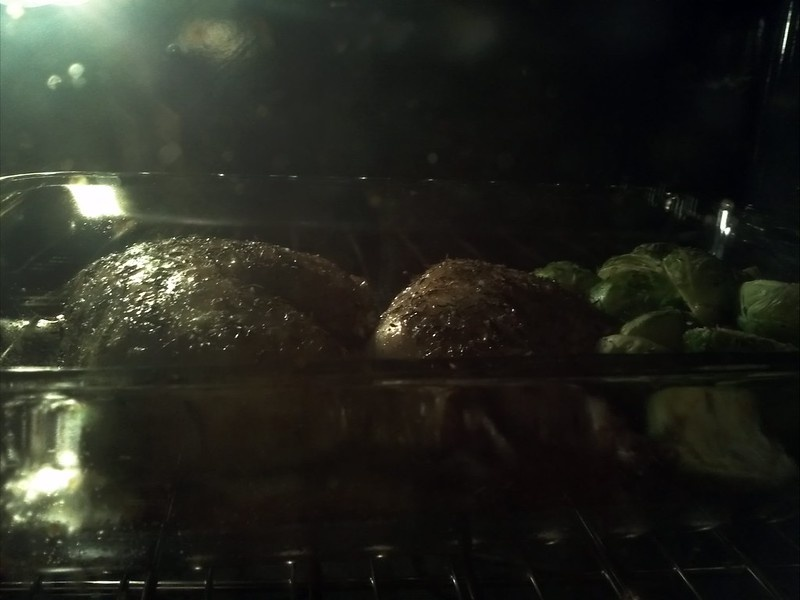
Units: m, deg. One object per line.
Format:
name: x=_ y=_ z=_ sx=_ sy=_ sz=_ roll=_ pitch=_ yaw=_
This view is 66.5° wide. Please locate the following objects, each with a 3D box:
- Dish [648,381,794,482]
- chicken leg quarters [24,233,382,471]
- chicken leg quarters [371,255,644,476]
Dish: x=0.283 y=0.140 z=0.535 sx=0.077 sy=0.034 sz=0.129 roll=-16 pitch=-43 yaw=28
chicken leg quarters: x=-0.208 y=0.016 z=0.739 sx=0.326 sy=0.337 sz=0.162 roll=12 pitch=-76 yaw=-20
chicken leg quarters: x=0.166 y=0.027 z=0.744 sx=0.360 sy=0.375 sz=0.159 roll=-6 pitch=-77 yaw=30
